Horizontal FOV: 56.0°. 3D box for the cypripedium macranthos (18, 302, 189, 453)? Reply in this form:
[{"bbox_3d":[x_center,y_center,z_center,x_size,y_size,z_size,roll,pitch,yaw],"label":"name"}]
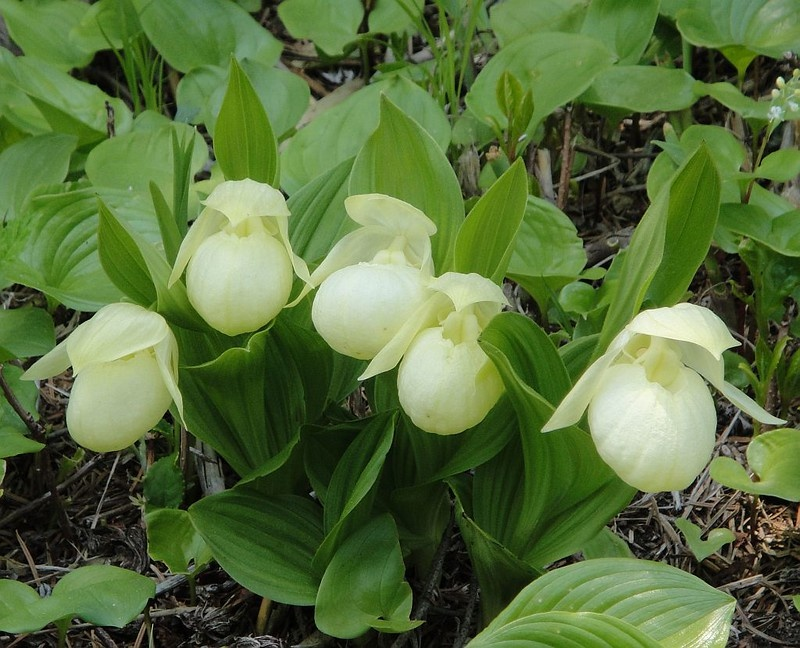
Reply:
[{"bbox_3d":[-0.597,0.125,1.507,0.334,0.234,0.233,-11,55,-5],"label":"cypripedium macranthos"}]

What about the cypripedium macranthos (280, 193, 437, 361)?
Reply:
[{"bbox_3d":[-0.047,-0.090,1.505,0.203,0.308,0.282,15,43,22],"label":"cypripedium macranthos"}]

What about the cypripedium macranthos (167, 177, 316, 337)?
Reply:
[{"bbox_3d":[-0.313,-0.098,1.548,0.272,0.141,0.318,20,88,8],"label":"cypripedium macranthos"}]

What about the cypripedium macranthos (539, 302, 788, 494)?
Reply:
[{"bbox_3d":[0.461,0.125,1.333,0.374,0.349,0.236,-1,22,6],"label":"cypripedium macranthos"}]

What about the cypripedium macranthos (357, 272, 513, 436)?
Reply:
[{"bbox_3d":[0.105,0.065,1.464,0.232,0.157,0.324,20,59,17],"label":"cypripedium macranthos"}]
